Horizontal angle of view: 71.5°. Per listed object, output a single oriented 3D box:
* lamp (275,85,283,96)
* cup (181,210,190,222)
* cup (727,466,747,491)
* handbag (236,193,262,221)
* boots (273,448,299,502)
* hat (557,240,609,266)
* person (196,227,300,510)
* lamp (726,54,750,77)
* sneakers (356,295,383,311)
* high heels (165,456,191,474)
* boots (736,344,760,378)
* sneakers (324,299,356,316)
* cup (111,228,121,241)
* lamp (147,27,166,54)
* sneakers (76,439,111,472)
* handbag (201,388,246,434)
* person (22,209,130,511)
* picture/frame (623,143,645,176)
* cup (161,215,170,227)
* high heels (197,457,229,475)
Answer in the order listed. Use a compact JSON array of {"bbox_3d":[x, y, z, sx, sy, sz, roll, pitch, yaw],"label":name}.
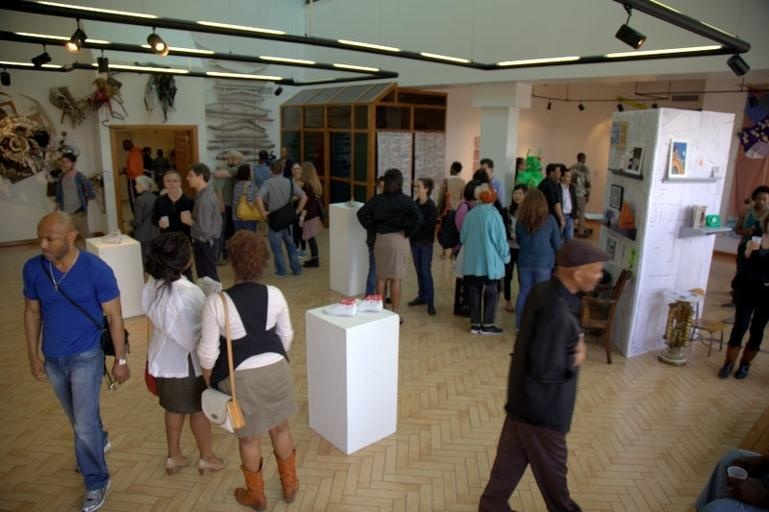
[{"bbox_3d":[-3.014,-4.724,15.169,0.204,0.257,0.130,30,5,-19],"label":"lamp"},{"bbox_3d":[-3.049,-0.607,8.246,0.147,0.192,0.126,-5,13,-21],"label":"cup"},{"bbox_3d":[2.940,1.812,4.448,0.146,0.090,0.171,6,14,26],"label":"cup"},{"bbox_3d":[-2.477,-0.913,9.829,0.429,0.444,0.230,2,16,-1],"label":"handbag"},{"bbox_3d":[-0.938,2.178,5.247,0.163,0.384,0.407,-11,-6,0],"label":"boots"},{"bbox_3d":[1.697,-0.027,4.608,0.333,0.141,0.248,-8,15,-3],"label":"hat"},{"bbox_3d":[-1.248,1.123,4.944,0.837,2.683,0.419,-4,13,-15],"label":"person"},{"bbox_3d":[5.446,-2.957,8.223,0.441,0.295,0.229,-11,16,-39],"label":"lamp"},{"bbox_3d":[-0.160,0.505,5.924,0.274,0.153,0.253,-1,13,-5],"label":"sneakers"},{"bbox_3d":[-2.130,2.136,5.566,0.130,0.136,0.254,7,15,21],"label":"high heels"},{"bbox_3d":[4.902,1.427,7.216,0.269,0.402,0.131,29,-4,-43],"label":"boots"},{"bbox_3d":[-0.462,0.536,5.771,0.283,0.119,0.164,3,13,10],"label":"sneakers"},{"bbox_3d":[-4.264,-0.337,8.543,0.135,0.092,0.349,-4,23,-11],"label":"cup"},{"bbox_3d":[-3.552,-3.353,8.395,0.258,0.325,0.413,-5,13,-20],"label":"lamp"},{"bbox_3d":[-2.849,1.947,5.207,0.153,0.199,0.465,6,51,-11],"label":"sneakers"},{"bbox_3d":[-1.446,1.379,4.830,0.474,0.348,0.184,18,29,33],"label":"handbag"},{"bbox_3d":[-2.917,1.019,5.067,0.883,2.842,0.535,-4,13,-17],"label":"person"},{"bbox_3d":[3.567,-1.377,7.617,0.040,0.508,0.439,1,13,-17],"label":"picture/frame"},{"bbox_3d":[-3.374,-0.538,8.204,0.119,0.133,0.137,0,-14,-28],"label":"cup"},{"bbox_3d":[-1.770,2.155,5.524,0.268,0.142,0.139,-13,21,-38],"label":"high heels"}]
